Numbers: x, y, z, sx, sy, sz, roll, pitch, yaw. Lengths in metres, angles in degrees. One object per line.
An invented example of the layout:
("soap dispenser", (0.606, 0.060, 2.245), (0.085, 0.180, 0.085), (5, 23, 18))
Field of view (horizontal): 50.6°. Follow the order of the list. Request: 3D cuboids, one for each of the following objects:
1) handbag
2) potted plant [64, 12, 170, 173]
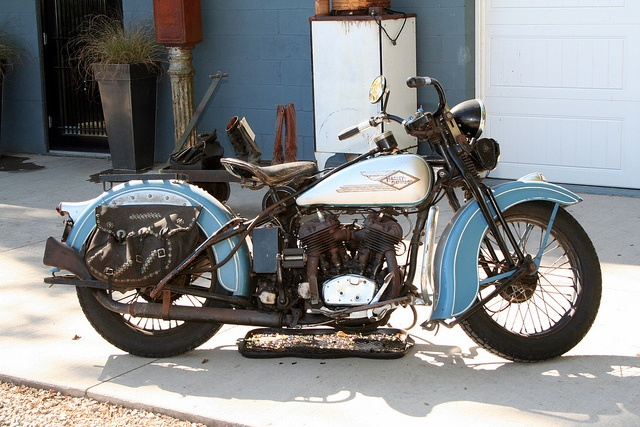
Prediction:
("handbag", (-1.089, 0.196, 4.143), (0.475, 0.373, 0.175), (1, -1, 5))
("potted plant", (-2.392, -1.533, 8.345), (1.256, 1.930, 1.247), (-12, 14, -42))
